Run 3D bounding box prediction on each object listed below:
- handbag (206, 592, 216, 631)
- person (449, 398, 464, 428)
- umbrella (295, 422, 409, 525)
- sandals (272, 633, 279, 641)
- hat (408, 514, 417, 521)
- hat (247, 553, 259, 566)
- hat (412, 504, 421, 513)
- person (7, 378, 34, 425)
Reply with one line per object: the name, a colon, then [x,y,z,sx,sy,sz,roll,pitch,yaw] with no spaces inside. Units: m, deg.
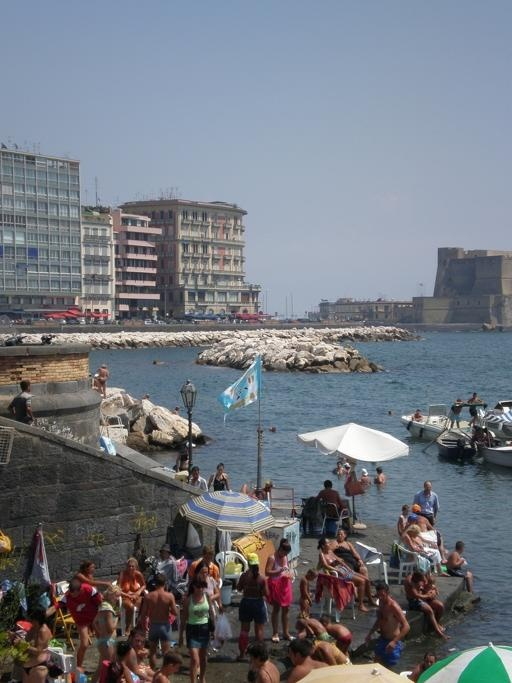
handbag: [-0.572,3.336,11.263,0.131,0.491,0.205,3,0,-2]
person: [7.846,2.809,35.772,0.355,1.314,0.788,12,2,8]
umbrella: [2.188,2.997,20.121,2.486,1.909,2.217,3,7,15]
sandals: [0.271,4.128,12.757,0.105,0.116,0.149,3,0,3]
hat: [2.908,3.276,16.953,0.113,0.132,0.138,9,44,18]
hat: [-0.070,2.887,12.004,0.153,0.148,0.169,7,15,23]
hat: [3.147,3.293,17.880,0.195,0.144,0.146,-14,23,-28]
person: [-3.835,0.987,14.813,0.383,0.712,1.066,3,0,-15]
